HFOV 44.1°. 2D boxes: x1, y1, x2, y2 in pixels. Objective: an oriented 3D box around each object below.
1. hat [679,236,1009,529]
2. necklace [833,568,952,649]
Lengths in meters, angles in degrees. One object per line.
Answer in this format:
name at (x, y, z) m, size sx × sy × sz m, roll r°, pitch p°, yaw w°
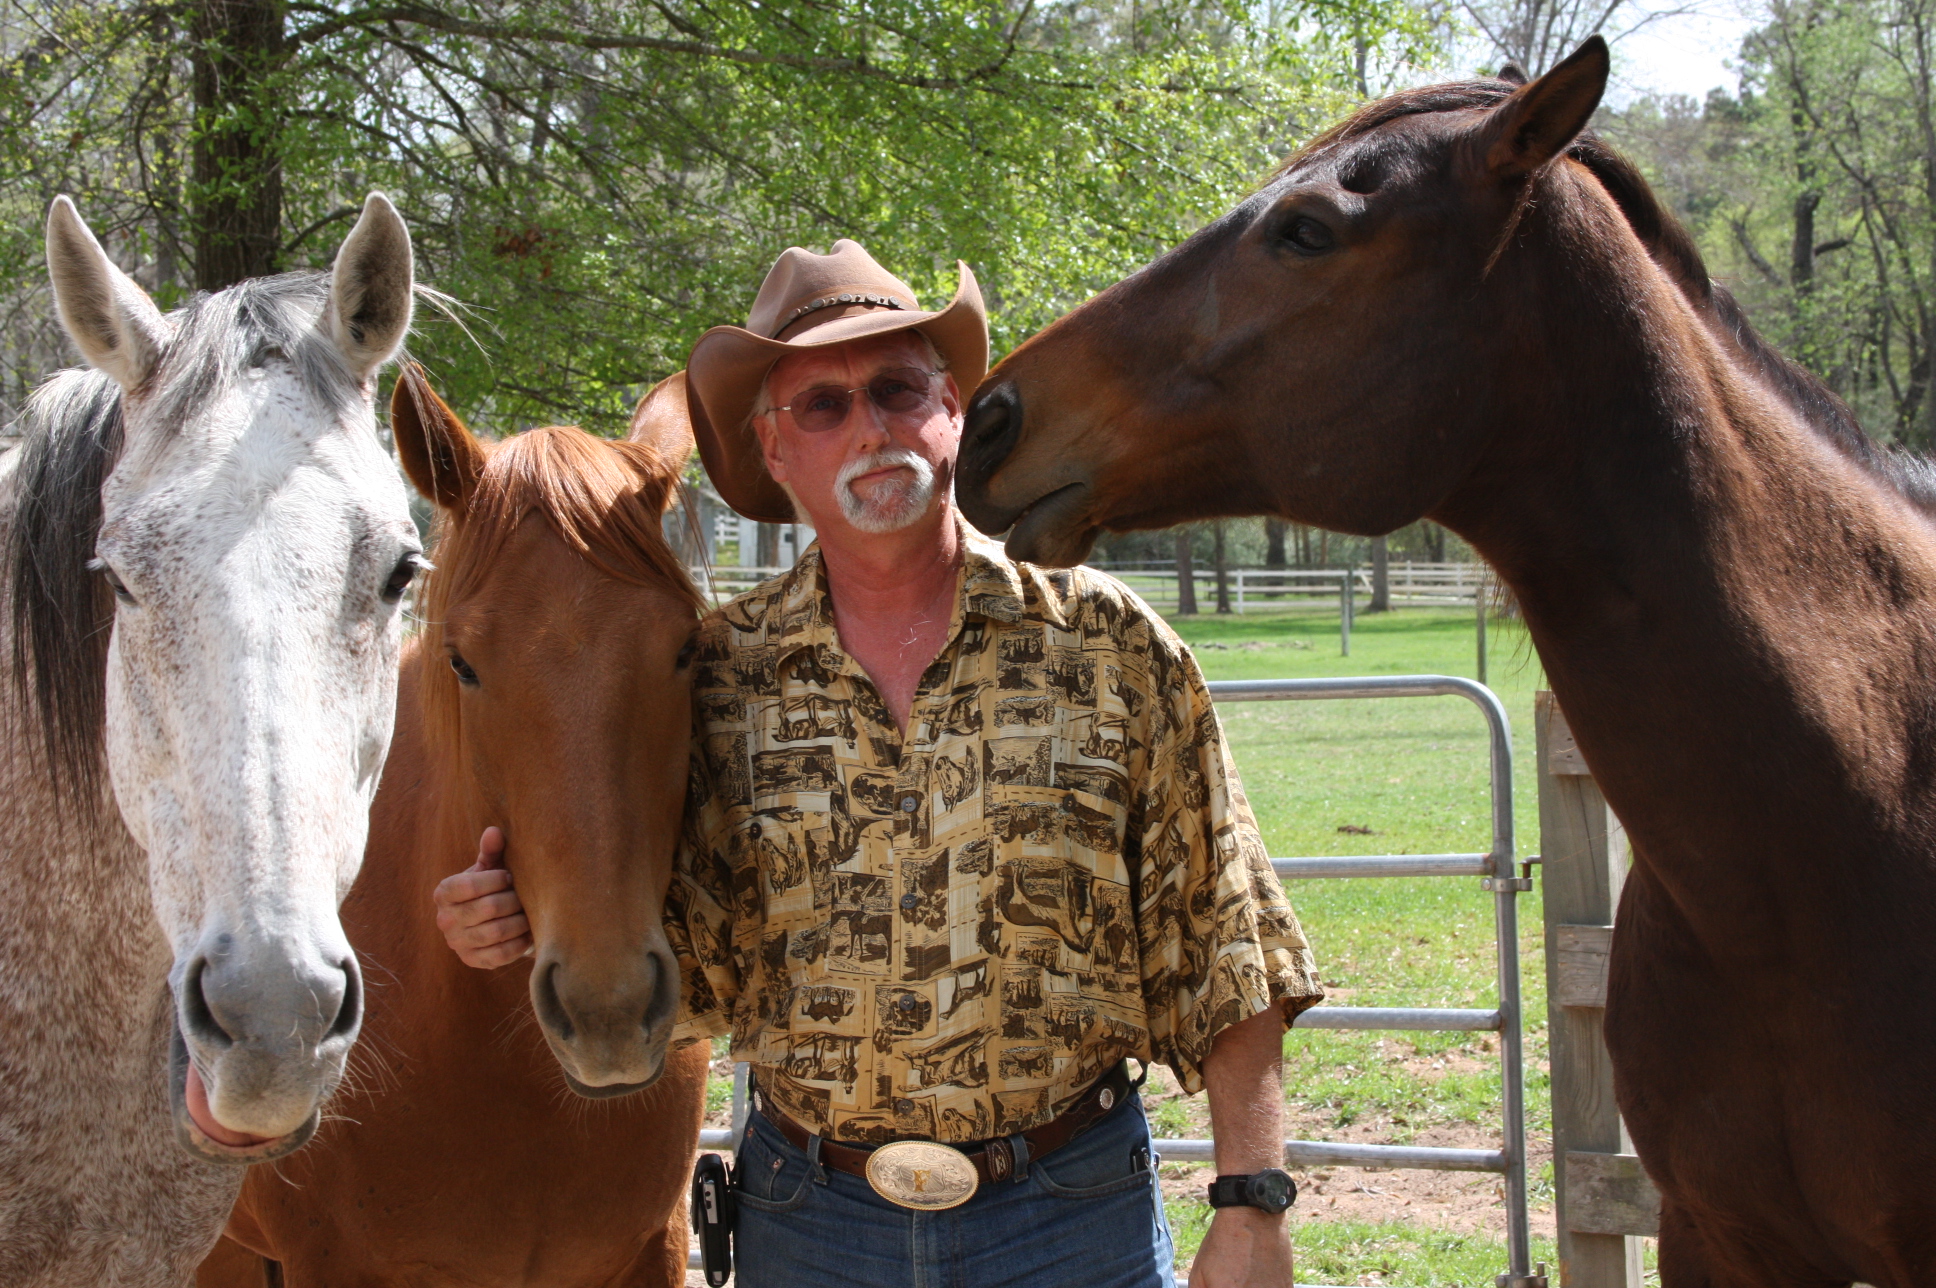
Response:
hat at (-0.522, -0.858, 6.828) m, size 0.637 × 0.398 × 0.913 m, roll -21°, pitch -23°, yaw -13°
necklace at (-0.197, -0.110, 6.609) m, size 0.189 × 0.155 × 0.203 m, roll -3°, pitch 6°, yaw 4°
